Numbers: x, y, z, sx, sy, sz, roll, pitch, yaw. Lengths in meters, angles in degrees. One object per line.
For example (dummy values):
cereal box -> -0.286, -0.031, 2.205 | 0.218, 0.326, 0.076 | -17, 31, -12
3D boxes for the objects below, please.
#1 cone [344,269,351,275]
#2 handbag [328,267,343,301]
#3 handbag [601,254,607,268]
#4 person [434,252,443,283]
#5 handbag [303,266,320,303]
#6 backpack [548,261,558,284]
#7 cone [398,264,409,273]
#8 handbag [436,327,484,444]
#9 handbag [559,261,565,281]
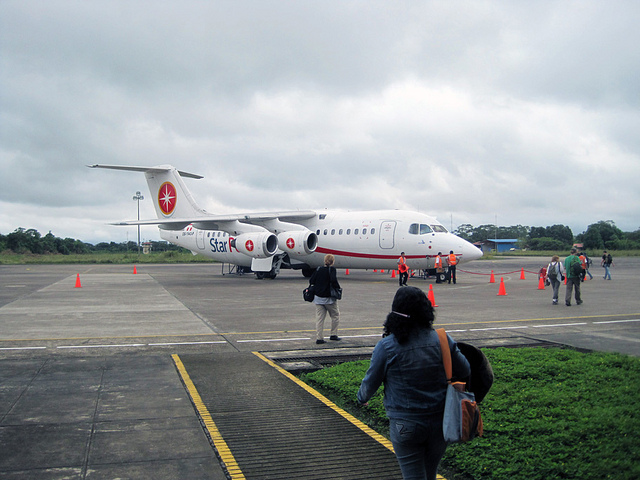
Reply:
cone -> 2.529, 2.881, 40.319 | 0.581, 0.606, 0.558 | -8, 5, -27
handbag -> 0.383, 1.116, 11.315 | 0.340, 0.728, 0.262 | 2, 0, 0
handbag -> 19.989, 1.462, 31.150 | 0.243, 0.802, 0.588 | 5, -2, 43
person -> 7.413, 1.757, 27.706 | 0.487, 1.497, 1.812 | 2, 0, 16
handbag -> -0.241, 1.178, 11.453 | 0.399, 0.821, 0.442 | 2, 0, -21
backpack -> 10.015, 1.412, 19.107 | 0.345, 0.679, 0.516 | 1, 0, 28
cone -> 4.828, 1.675, 25.599 | 0.429, 0.370, 0.631 | 2, 0, 5
handbag -> 1.221, 1.314, 3.890 | 0.402, 0.784, 0.288 | 2, 0, 15
handbag -> 10.481, 1.447, 19.225 | 0.175, 0.521, 0.966 | 1, 0, 31
